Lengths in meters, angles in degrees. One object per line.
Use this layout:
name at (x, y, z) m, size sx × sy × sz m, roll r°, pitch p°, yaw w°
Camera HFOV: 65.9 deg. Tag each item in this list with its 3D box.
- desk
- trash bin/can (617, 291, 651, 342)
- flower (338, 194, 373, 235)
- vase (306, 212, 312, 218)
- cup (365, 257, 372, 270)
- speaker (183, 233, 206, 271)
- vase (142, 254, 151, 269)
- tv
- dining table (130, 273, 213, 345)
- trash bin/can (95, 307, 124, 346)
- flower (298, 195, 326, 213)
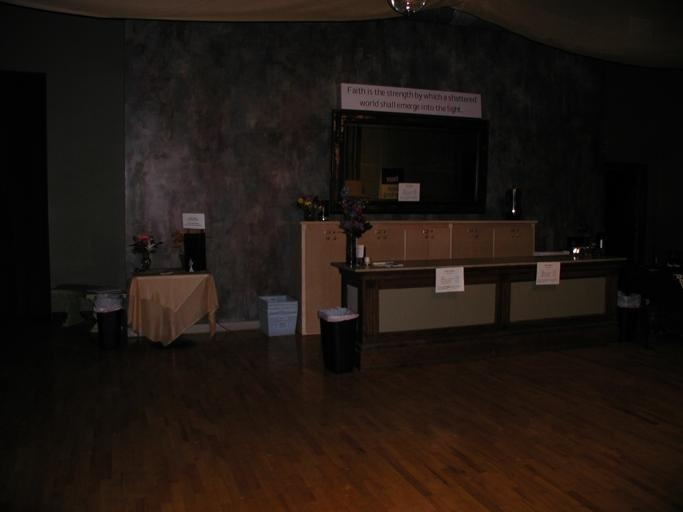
desk at (1.574, 0.440, 5.611) m, size 3.010 × 0.793 × 0.342 m, roll -3°, pitch 11°, yaw -15°
trash bin/can at (3.471, 0.714, 6.258) m, size 0.453 × 0.615 × 0.476 m, roll -6°, pitch -14°, yaw 28°
flower at (0.155, -0.409, 5.710) m, size 0.315 × 0.398 × 0.401 m, roll 1°, pitch 11°, yaw 5°
vase at (-0.410, -0.518, 6.692) m, size 0.095 × 0.104 × 0.053 m, roll 1°, pitch 8°, yaw 4°
cup at (0.279, 0.079, 5.471) m, size 0.085 × 0.140 × 0.084 m, roll -2°, pitch 4°, yaw 0°
speaker at (-1.721, -0.046, 6.160) m, size 0.252 × 0.432 × 0.261 m, roll -4°, pitch 11°, yaw -19°
vase at (-2.321, 0.072, 6.245) m, size 0.095 × 0.161 × 0.152 m, roll -5°, pitch 12°, yaw -23°
tv at (0.965, -1.254, 7.371) m, size 2.198 × 1.551 × 0.211 m, roll 2°, pitch -8°, yaw -3°
dining table at (-1.871, 0.548, 5.857) m, size 0.764 × 0.649 × 0.792 m, roll 0°, pitch 2°, yaw -28°
trash bin/can at (-2.637, 0.811, 5.983) m, size 0.421 × 0.558 × 0.342 m, roll 1°, pitch -4°, yaw -31°
flower at (-0.381, -0.665, 6.745) m, size 0.272 × 0.112 × 0.206 m, roll 7°, pitch 7°, yaw 19°
